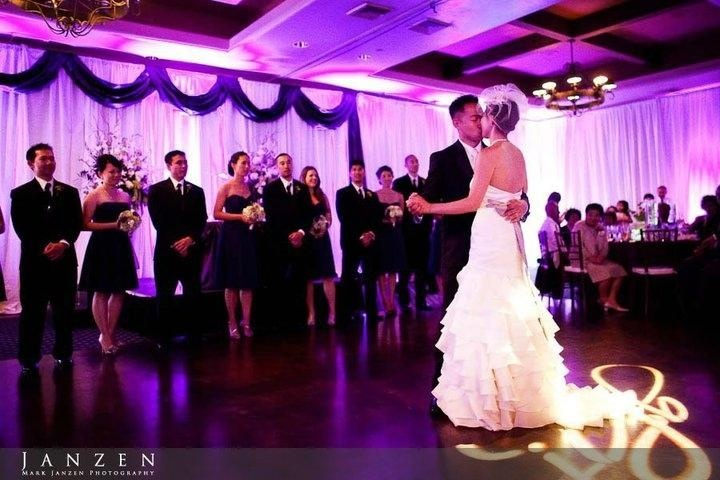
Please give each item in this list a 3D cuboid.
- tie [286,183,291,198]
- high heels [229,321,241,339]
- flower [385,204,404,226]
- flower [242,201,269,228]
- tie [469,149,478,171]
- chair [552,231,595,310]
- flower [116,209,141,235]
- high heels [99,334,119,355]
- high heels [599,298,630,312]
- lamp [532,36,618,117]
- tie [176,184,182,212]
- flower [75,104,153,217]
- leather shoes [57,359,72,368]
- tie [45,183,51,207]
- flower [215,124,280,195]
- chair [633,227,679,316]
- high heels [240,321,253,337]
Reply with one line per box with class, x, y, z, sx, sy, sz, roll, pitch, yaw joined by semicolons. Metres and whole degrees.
tie;-0.963;-0.674;7.450;0.078;0.152;0.034;4;-5;-29
high heels;-1.619;1.182;7.131;0.094;0.113;0.279;2;-11;-23
flower;0.460;-0.347;7.716;0.200;0.265;0.102;2;19;-2
flower;-1.348;-0.339;7.046;0.295;0.242;0.247;-5;8;-26
tie;1.012;-0.720;4.962;0.121;0.182;0.049;0;-10;-2
chair;3.454;0.464;8.543;0.725;1.086;0.674;4;-1;-34
flower;-2.655;-0.203;6.353;0.239;0.268;0.213;-2;7;-9
high heels;-3.010;1.216;6.649;0.210;0.220;0.517;-5;9;-26
high heels;3.788;0.996;8.285;0.420;0.188;0.140;-3;0;29
lamp;3.961;-3.119;10.421;1.330;1.550;1.328;0;-4;9
tie;-2.177;-0.536;6.679;0.053;0.266;0.037;1;-8;-24
flower;-4.321;-1.694;9.618;0.791;1.186;0.894;-4;-11;-33
leather shoes;-3.229;1.352;6.062;0.143;0.058;0.160;-6;9;-30
tie;-3.314;-0.480;5.915;0.045;0.261;0.068;-4;3;20
flower;-1.788;-1.453;10.231;1.182;0.976;1.290;15;32;20
chair;4.442;0.430;8.384;0.587;1.172;1.556;3;9;30
high heels;-1.503;1.146;7.315;0.132;0.173;0.487;-3;8;-16
